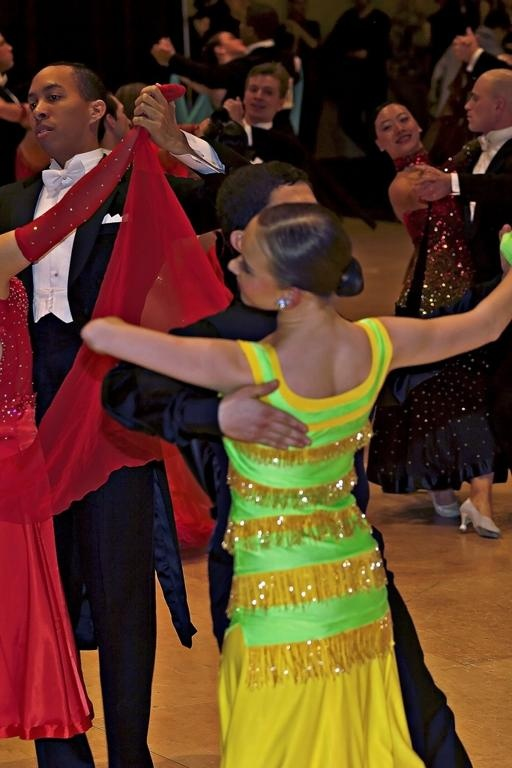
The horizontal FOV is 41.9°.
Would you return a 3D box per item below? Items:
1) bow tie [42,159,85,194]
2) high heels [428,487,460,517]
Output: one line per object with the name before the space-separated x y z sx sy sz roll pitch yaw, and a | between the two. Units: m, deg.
bow tie | -0.495 -0.525 1.709 0.113 0.096 0.073 3 8 43
high heels | 1.143 0.726 4.066 0.110 0.076 0.213 0 0 -13
